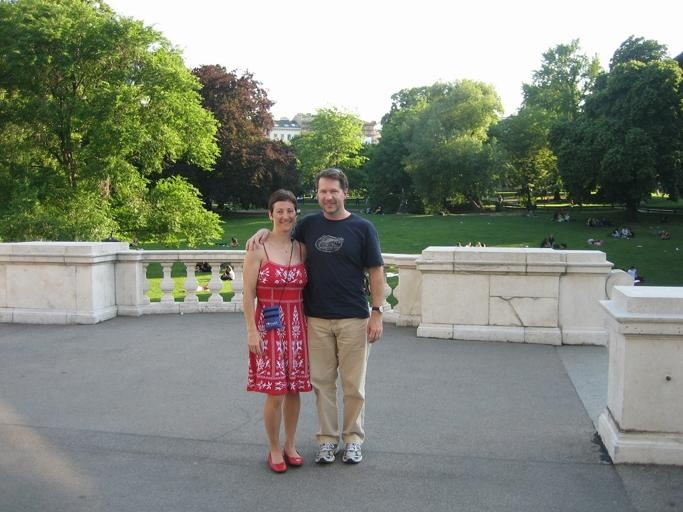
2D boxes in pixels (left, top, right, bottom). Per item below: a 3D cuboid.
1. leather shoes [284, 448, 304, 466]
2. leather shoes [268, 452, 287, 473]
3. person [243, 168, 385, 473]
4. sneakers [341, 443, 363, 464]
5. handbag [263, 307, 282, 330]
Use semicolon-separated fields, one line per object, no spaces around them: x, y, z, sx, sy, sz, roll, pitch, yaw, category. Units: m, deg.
-0.459;1.958;6.981;0.190;0.123;0.198;-2;13;-12;leather shoes
-0.613;1.970;6.907;0.181;0.144;0.242;-2;13;-11;leather shoes
-0.007;0.580;7.025;0.835;2.783;0.742;0;12;-2;person
0.108;1.905;7.075;0.206;0.176;0.286;1;12;1;sneakers
-0.661;0.593;6.850;0.177;0.218;0.102;-1;12;-5;handbag
